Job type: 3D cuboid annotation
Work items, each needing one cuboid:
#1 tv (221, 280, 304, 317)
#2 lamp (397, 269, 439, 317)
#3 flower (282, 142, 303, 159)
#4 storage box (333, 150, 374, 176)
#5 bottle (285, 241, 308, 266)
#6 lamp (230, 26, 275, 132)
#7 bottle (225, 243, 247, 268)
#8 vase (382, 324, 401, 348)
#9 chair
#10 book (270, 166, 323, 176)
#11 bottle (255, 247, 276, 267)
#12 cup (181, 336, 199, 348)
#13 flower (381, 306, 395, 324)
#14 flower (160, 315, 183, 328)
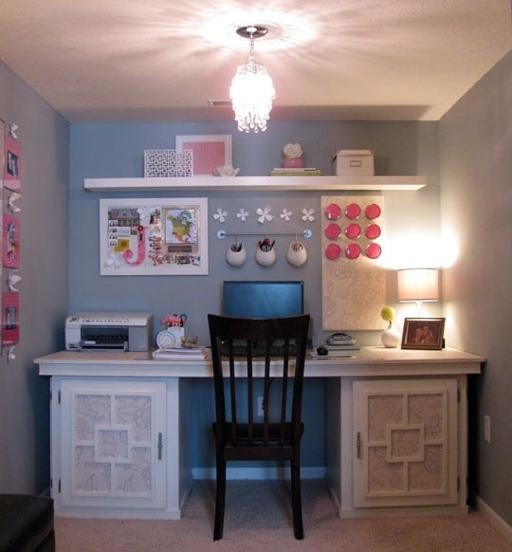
[{"bbox_3d":[0.043,0.133,3.344,0.455,0.203,0.066,-1,6,-2],"label":"tv"},{"bbox_3d":[0.973,0.100,3.460,0.255,0.311,0.296,1,6,17],"label":"lamp"},{"bbox_3d":[0.224,-0.776,3.534,0.127,0.100,0.111,0,6,3],"label":"flower"},{"bbox_3d":[0.587,-0.677,3.415,0.168,0.105,0.171,0,4,-2],"label":"storage box"},{"bbox_3d":[0.249,-0.138,3.509,0.124,0.163,0.115,0,6,0],"label":"bottle"},{"bbox_3d":[-0.017,-0.909,2.647,0.196,0.466,0.199,0,6,8],"label":"lamp"},{"bbox_3d":[-0.119,-0.134,3.480,0.109,0.104,0.145,4,39,0],"label":"bottle"},{"bbox_3d":[0.789,0.356,3.351,0.104,0.145,0.102,1,-3,-33],"label":"vase"},{"bbox_3d":[0.002,0.692,3.113,0.574,1.113,0.885,0,6,4],"label":"chair"},{"bbox_3d":[0.230,-0.619,3.411,0.291,0.043,0.065,-1,6,-5],"label":"book"},{"bbox_3d":[0.060,-0.118,3.474,0.107,0.107,0.108,1,-4,-6],"label":"bottle"},{"bbox_3d":[-0.369,0.358,3.156,0.063,0.044,0.064,-2,-6,0],"label":"cup"},{"bbox_3d":[0.785,0.232,3.427,0.081,0.099,0.084,-3,1,-3],"label":"flower"},{"bbox_3d":[-0.492,0.267,3.414,0.090,0.068,0.093,-3,-6,28],"label":"flower"}]
